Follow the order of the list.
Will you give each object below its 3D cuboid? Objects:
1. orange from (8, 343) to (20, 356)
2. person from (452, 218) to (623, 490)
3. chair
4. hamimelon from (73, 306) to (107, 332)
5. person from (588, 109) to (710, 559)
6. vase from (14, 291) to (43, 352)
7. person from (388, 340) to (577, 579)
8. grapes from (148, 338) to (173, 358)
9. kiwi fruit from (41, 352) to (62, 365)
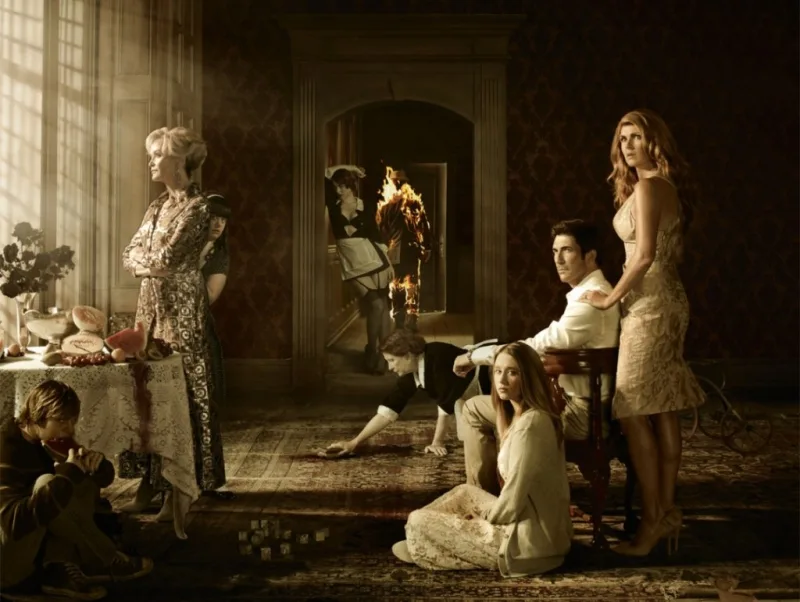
[{"bbox_3d":[-1.950,0.248,4.573,0.046,0.047,0.061,9,-5,-14],"label":"orange"},{"bbox_3d":[0.739,0.434,4.968,0.958,1.709,0.625,7,11,29],"label":"person"},{"bbox_3d":[0.901,0.745,4.826,0.752,0.915,0.644,2,1,22],"label":"chair"},{"bbox_3d":[-1.585,0.102,4.655,0.145,0.106,0.144,-10,35,-45],"label":"hamimelon"},{"bbox_3d":[1.264,0.148,4.582,0.525,2.183,0.550,4,9,27],"label":"person"},{"bbox_3d":[-1.957,0.116,4.843,0.180,0.297,0.156,14,-15,-42],"label":"vase"},{"bbox_3d":[0.408,0.770,4.533,0.915,1.070,0.683,1,4,0],"label":"person"},{"bbox_3d":[-1.237,0.247,4.623,0.082,0.039,0.109,6,16,-26],"label":"grapes"},{"bbox_3d":[-1.700,0.288,4.425,0.067,0.023,0.069,-21,-21,7],"label":"kiwi fruit"}]
